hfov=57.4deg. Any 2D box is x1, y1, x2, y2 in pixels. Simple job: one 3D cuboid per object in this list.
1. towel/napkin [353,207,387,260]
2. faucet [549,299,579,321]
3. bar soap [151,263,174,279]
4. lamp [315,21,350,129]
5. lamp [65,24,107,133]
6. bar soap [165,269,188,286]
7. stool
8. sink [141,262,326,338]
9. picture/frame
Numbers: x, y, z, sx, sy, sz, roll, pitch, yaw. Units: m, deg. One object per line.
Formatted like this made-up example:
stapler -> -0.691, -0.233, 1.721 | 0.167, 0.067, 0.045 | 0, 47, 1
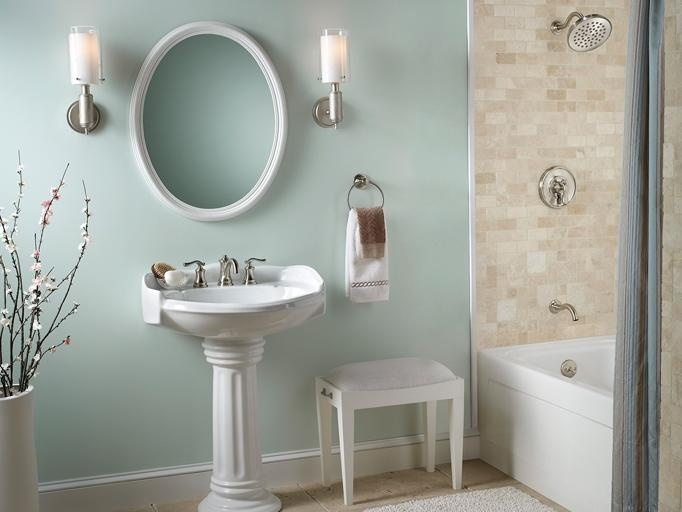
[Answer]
towel/napkin -> 0.140, -0.108, 3.007 | 0.155, 0.243, 0.062 | 1, 5, 0
faucet -> 1.222, 0.295, 3.338 | 0.081, 0.085, 0.209 | -4, 8, -26
bar soap -> -0.808, 0.060, 2.805 | 0.068, 0.034, 0.090 | -16, 35, -41
lamp -> -0.050, -0.840, 2.961 | 0.160, 0.441, 0.156 | 1, 5, -3
lamp -> -1.113, -0.760, 2.693 | 0.150, 0.456, 0.139 | -1, 6, -25
bar soap -> -0.729, 0.096, 2.740 | 0.072, 0.073, 0.017 | -15, 10, -28
stool -> 0.192, 0.619, 3.120 | 0.982, 0.919, 0.547 | -1, -1, -20
sink -> -0.451, 0.214, 2.684 | 0.782, 0.306, 0.558 | 0, 5, -18
picture/frame -> -0.650, -0.646, 2.867 | 0.928, 1.201, 0.069 | 0, 4, -11
